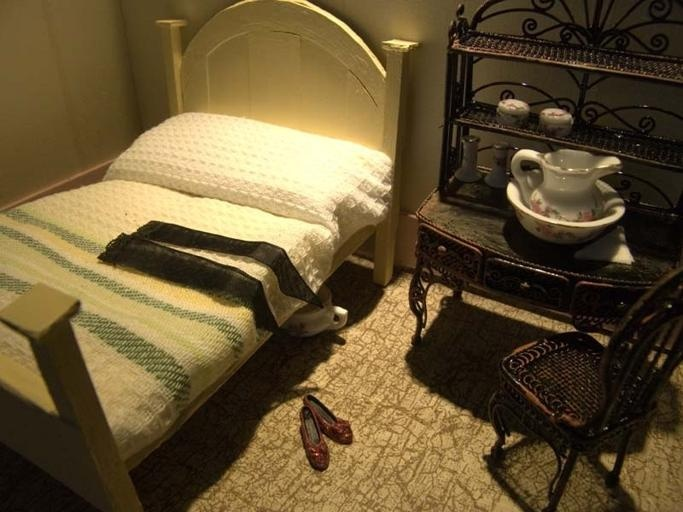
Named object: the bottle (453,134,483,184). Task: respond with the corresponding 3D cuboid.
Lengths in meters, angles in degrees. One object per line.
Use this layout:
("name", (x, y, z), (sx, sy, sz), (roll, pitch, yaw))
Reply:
("bottle", (0.656, -0.505, 2.729), (0.165, 0.210, 0.161), (-4, 36, 3))

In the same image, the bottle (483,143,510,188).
("bottle", (0.757, -0.483, 2.721), (0.181, 0.204, 0.184), (3, 26, 6))

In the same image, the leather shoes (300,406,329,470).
("leather shoes", (-0.131, 0.856, 2.457), (0.096, 0.077, 0.280), (-13, 53, -10))

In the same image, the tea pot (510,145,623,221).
("tea pot", (0.950, -0.306, 2.285), (0.430, 0.319, 0.305), (13, 48, 20))

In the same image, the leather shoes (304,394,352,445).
("leather shoes", (-0.088, 0.791, 2.541), (0.126, 0.089, 0.325), (-31, 60, -34))
